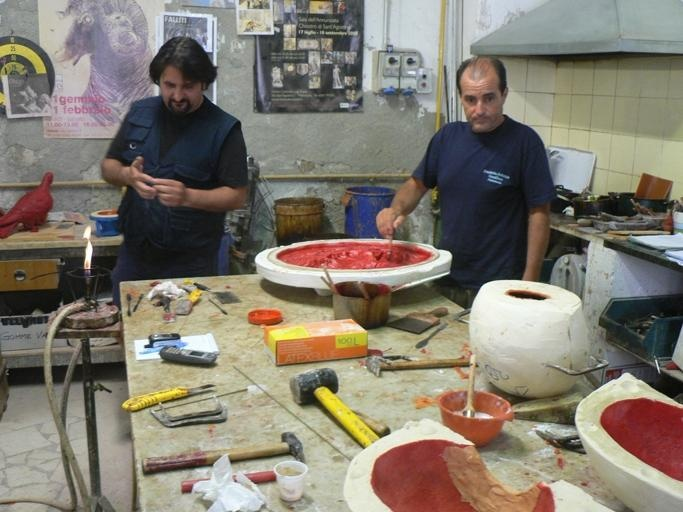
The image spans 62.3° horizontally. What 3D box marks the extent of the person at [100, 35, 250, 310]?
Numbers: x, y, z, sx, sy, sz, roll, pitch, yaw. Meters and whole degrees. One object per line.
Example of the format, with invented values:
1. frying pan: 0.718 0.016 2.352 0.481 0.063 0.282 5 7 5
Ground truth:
1. person: -0.991 -0.428 3.363 0.614 1.644 0.737 -11 21 -42

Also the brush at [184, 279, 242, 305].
1. brush: -0.651 0.152 2.825 0.114 0.029 0.358 -14 19 -33

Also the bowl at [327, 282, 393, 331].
1. bowl: 0.050 0.215 2.502 0.274 0.162 0.309 -5 10 -39

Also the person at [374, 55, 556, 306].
1. person: 0.745 -0.392 3.170 0.838 1.381 0.338 11 17 28

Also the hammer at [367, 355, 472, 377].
1. hammer: 0.286 0.406 2.111 0.241 0.030 0.130 -1 2 -7

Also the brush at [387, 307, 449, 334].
1. brush: 0.354 0.274 2.508 0.107 0.023 0.217 7 13 34

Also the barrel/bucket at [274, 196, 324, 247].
1. barrel/bucket: -0.391 -0.329 5.023 0.471 0.399 0.447 0 9 0

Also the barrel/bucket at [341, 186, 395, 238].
1. barrel/bucket: 0.209 -0.452 5.257 0.556 0.462 0.477 0 18 1

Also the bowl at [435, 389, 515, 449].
1. bowl: 0.385 0.495 1.687 0.233 0.093 0.247 0 9 0

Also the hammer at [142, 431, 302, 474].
1. hammer: -0.345 0.579 1.618 0.402 0.042 0.145 -1 13 -14

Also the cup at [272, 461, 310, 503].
1. cup: -0.137 0.605 1.508 0.095 0.064 0.093 -1 6 0

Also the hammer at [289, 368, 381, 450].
1. hammer: -0.042 0.474 1.808 0.118 0.093 0.465 -13 24 -24
